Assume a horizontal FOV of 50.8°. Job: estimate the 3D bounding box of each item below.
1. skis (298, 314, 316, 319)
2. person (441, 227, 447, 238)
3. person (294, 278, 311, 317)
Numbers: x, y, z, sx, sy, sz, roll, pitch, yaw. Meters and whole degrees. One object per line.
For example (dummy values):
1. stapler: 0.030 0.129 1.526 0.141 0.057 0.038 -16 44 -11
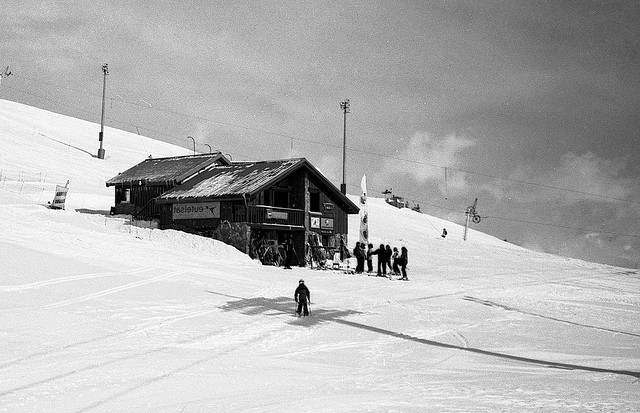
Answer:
1. skis: -0.561 4.252 26.018 0.439 0.172 0.059 -8 -24 -15
2. person: 12.210 2.628 66.647 0.684 1.114 0.717 6 -3 -24
3. person: -0.696 3.511 26.297 0.557 1.407 0.981 3 6 -1
